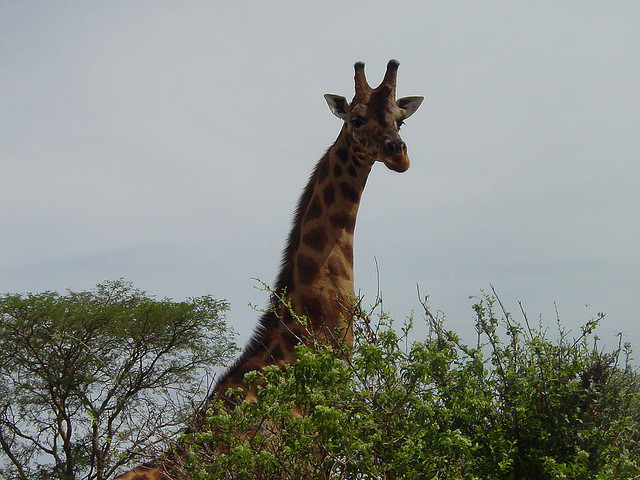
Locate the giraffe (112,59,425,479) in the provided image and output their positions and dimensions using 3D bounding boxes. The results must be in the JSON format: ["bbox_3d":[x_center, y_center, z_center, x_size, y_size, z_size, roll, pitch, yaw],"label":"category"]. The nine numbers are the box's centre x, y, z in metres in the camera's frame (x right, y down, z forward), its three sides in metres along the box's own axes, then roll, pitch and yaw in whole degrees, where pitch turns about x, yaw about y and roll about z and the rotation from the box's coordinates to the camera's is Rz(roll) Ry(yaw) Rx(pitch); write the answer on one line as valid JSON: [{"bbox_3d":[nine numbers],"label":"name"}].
[{"bbox_3d":[-0.122,0.377,20.581,4.160,6.870,1.893,-20,-33,27],"label":"giraffe"}]
